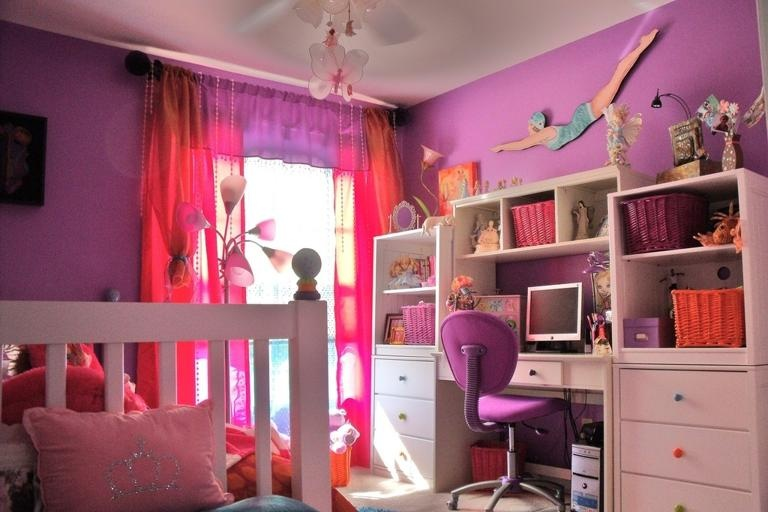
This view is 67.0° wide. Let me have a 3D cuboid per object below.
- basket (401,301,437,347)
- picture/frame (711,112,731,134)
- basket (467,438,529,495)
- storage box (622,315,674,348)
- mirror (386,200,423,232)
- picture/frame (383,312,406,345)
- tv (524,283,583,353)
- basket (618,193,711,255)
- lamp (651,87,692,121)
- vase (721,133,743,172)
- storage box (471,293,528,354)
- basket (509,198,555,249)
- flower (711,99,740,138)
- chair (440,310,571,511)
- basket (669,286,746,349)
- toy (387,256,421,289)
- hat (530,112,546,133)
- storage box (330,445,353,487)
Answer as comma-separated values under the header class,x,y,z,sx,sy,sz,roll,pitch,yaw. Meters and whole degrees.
class,x,y,z,sx,sy,sz,roll,pitch,yaw
basket,0.297,0.568,4.677,0.288,0.349,0.348,3,-20,-1
picture/frame,1.980,-0.785,3.409,0.030,0.106,0.088,8,0,-38
basket,0.795,1.549,4.326,0.298,0.270,0.384,1,-15,9
storage box,1.570,0.453,3.431,0.208,0.134,0.206,5,-7,-40
mirror,0.166,-0.341,5.014,0.268,0.291,0.054,3,5,18
picture/frame,0.088,0.602,4.740,0.225,0.243,0.018,-11,-27,33
tv,1.183,0.440,4.020,0.386,0.463,0.147,-11,-20,43
basket,1.723,-0.213,3.577,0.345,0.285,0.427,0,-6,-29
lamp,1.864,-1.002,3.785,0.251,0.242,0.114,-1,-3,32
vase,1.972,-0.590,3.297,0.106,0.231,0.199,-1,-3,31
storage box,0.901,0.416,4.489,0.302,0.575,0.443,-1,31,15
basket,1.066,-0.301,4.217,0.303,0.332,0.378,-6,24,15
flower,2.051,-0.826,3.453,0.112,0.250,0.206,-12,16,-39
chair,0.740,1.003,3.696,0.729,1.335,0.816,-2,-4,39
basket,1.802,0.336,3.234,0.290,0.318,0.368,-1,-3,31
toy,0.213,0.135,4.800,0.155,0.242,0.226,-18,9,-40
hat,1.171,-1.025,4.424,0.106,0.142,0.145,1,12,5
storage box,-0.328,1.632,4.378,0.154,0.262,0.150,3,-38,-9
